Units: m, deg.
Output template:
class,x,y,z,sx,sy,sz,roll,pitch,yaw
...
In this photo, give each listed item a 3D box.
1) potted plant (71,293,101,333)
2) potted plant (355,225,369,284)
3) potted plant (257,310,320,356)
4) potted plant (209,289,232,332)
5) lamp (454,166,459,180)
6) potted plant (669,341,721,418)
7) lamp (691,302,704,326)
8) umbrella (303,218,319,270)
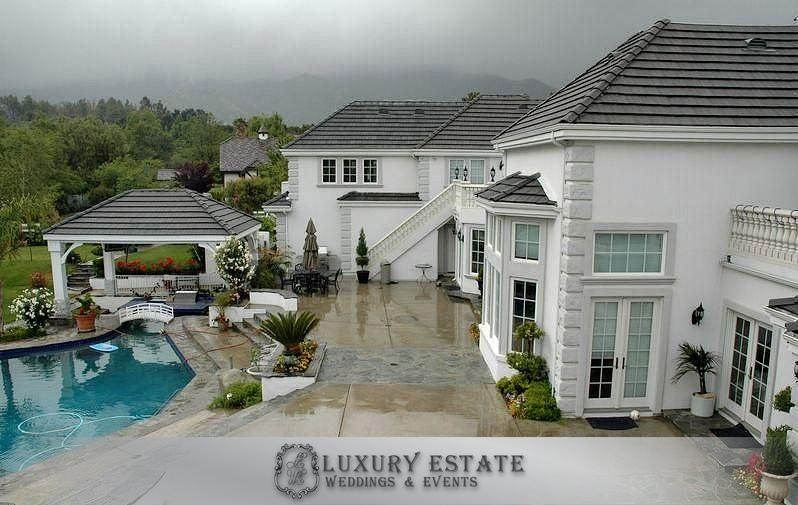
class,x,y,z,sx,sy,sz,roll,pitch,yaw
potted plant,-13.908,2.653,26.684,0.957,1.574,1.268,0,6,-27
potted plant,-1.939,0.175,32.224,0.794,2.831,1.148,2,5,-4
potted plant,-3.834,2.886,21.093,2.037,1.556,2.080,-9,-9,6
potted plant,-7.846,2.525,26.507,0.863,1.569,0.781,1,5,-17
lamp,3.202,-4.315,32.807,0.272,0.642,0.680,2,5,-3
potted plant,9.159,3.875,18.432,1.344,2.245,0.499,2,5,-7
lamp,9.171,1.886,18.400,0.389,0.704,0.116,1,5,-15
umbrella,-4.425,-0.394,30.475,0.621,2.510,0.916,0,6,-30
